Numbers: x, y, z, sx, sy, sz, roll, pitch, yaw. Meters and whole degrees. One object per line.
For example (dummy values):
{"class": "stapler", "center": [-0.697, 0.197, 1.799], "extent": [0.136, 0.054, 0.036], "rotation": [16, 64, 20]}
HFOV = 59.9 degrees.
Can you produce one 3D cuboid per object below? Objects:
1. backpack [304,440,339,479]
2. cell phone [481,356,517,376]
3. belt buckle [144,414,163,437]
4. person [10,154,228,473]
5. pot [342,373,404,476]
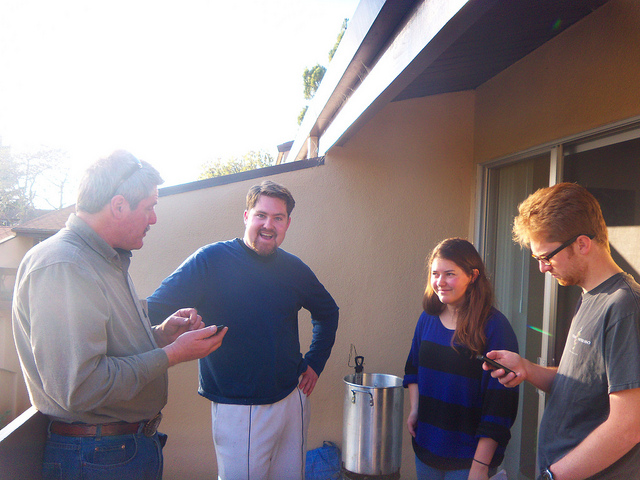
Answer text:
{"class": "backpack", "center": [0.024, 1.803, 4.555], "extent": [0.251, 0.117, 0.227], "rotation": [-7, 21, 3]}
{"class": "cell phone", "center": [1.049, 0.723, 3.209], "extent": [0.186, 0.043, 0.033], "rotation": [33, -11, 22]}
{"class": "belt buckle", "center": [-0.901, 1.013, 3.032], "extent": [0.051, 0.120, 0.107], "rotation": [2, -1, 12]}
{"class": "person", "center": [-1.107, 0.391, 2.907], "extent": [0.865, 1.674, 0.373], "rotation": [3, 0, -34]}
{"class": "pot", "center": [0.436, 1.268, 4.205], "extent": [0.484, 0.691, 0.814], "rotation": [-1, -8, 22]}
